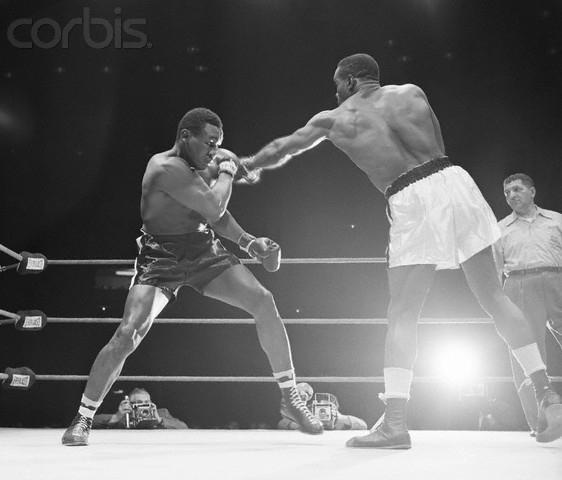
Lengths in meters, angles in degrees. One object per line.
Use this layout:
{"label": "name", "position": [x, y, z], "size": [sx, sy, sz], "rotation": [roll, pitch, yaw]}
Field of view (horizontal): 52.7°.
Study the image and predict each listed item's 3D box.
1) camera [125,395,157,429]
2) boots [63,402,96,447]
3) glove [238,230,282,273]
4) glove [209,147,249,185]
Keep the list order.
{"label": "camera", "position": [-0.964, 1.176, 3.945], "size": [0.157, 0.091, 0.210], "rotation": [27, -37, -34]}
{"label": "boots", "position": [-0.812, 0.792, 2.397], "size": [0.080, 0.151, 0.233], "rotation": [16, -19, -3]}
{"label": "glove", "position": [-0.090, 0.045, 2.888], "size": [0.167, 0.222, 0.110], "rotation": [-48, 1, 24]}
{"label": "glove", "position": [-0.239, -0.363, 2.701], "size": [0.077, 0.147, 0.176], "rotation": [-19, 35, -41]}
